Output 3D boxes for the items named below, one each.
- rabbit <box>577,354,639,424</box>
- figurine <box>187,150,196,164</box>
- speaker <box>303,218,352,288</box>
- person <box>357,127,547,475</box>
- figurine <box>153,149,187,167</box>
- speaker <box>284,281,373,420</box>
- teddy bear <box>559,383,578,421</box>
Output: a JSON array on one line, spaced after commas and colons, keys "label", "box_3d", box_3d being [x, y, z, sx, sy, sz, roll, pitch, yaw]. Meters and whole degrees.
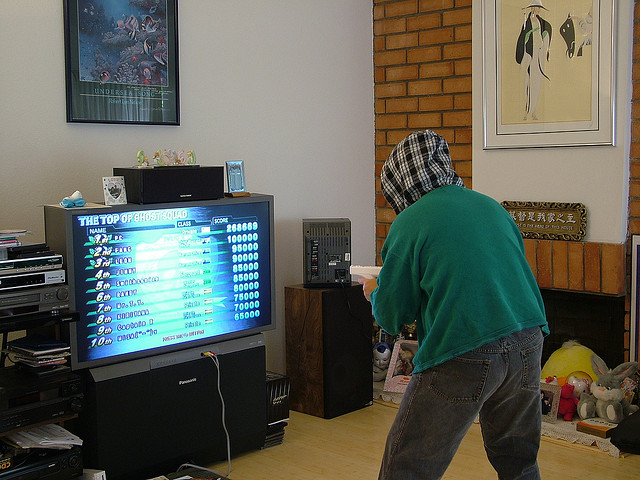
[{"label": "rabbit", "box_3d": [1.756, 0.916, 3.219, 0.331, 0.346, 0.267, 2, 10, 26]}, {"label": "figurine", "box_3d": [-0.734, -0.478, 2.990, 0.059, 0.095, 0.025, 1, -8, -7]}, {"label": "speaker", "box_3d": [0.048, 0.065, 3.580, 0.322, 0.456, 0.264, -1, 16, 1]}, {"label": "person", "box_3d": [0.512, 0.248, 1.912, 0.649, 1.272, 0.448, -1, 9, 5]}, {"label": "figurine", "box_3d": [-0.835, -0.445, 2.939, 0.167, 0.084, 0.166, -1, 2, -26]}, {"label": "speaker", "box_3d": [-0.020, 0.664, 3.658, 0.475, 0.817, 0.500, 1, 5, 37]}, {"label": "teddy bear", "box_3d": [1.557, 1.014, 3.301, 0.117, 0.209, 0.081, -10, 12, -43]}]
